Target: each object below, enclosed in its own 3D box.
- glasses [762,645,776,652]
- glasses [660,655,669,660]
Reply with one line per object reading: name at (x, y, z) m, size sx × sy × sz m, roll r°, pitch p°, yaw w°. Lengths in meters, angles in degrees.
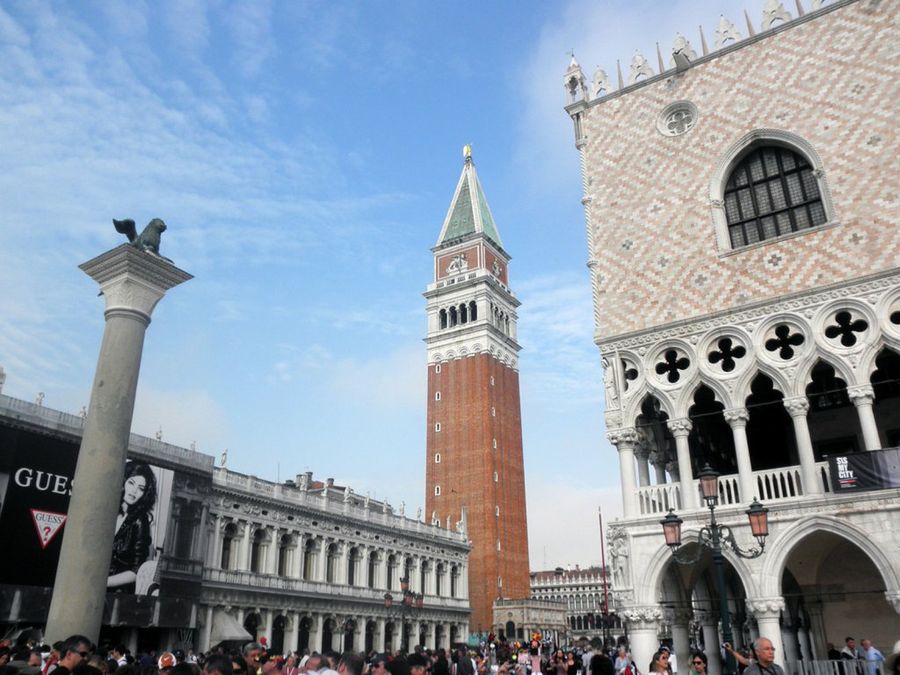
glasses at (4.344, 4.197, 9.318) m, size 0.129 × 0.070 × 0.176 m, roll 0°, pitch -30°, yaw 3°
glasses at (3.458, 5.138, 11.100) m, size 0.149 × 0.043 × 0.157 m, roll 5°, pitch -31°, yaw -9°
